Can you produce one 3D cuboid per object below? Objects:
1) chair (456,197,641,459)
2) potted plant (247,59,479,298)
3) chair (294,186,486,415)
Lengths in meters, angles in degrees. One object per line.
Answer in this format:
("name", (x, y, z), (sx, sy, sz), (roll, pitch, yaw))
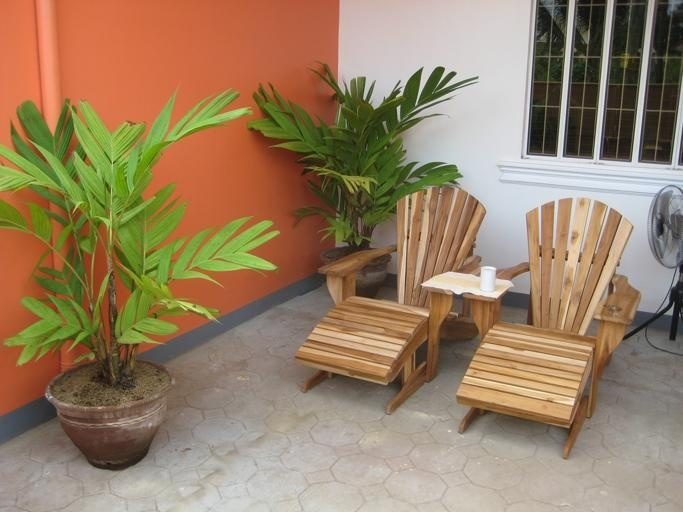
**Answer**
("chair", (1.300, 0.383, 2.934), (0.756, 1.265, 1.340), (13, 26, 31))
("potted plant", (0.212, -0.547, 4.527), (2.031, 1.843, 2.067), (2, 0, -38))
("chair", (0.384, 0.236, 3.488), (0.988, 1.006, 1.587), (10, 25, 27))
